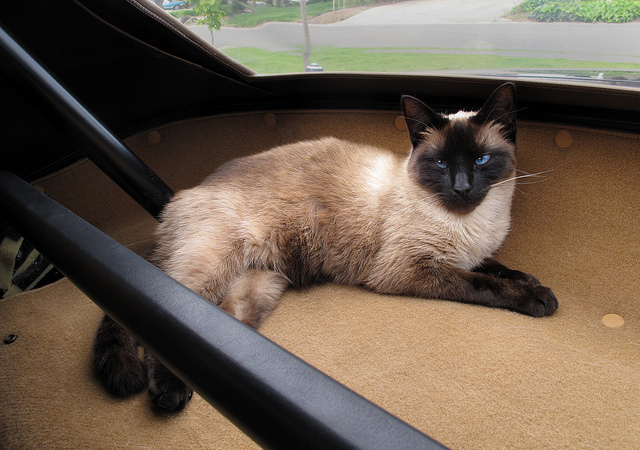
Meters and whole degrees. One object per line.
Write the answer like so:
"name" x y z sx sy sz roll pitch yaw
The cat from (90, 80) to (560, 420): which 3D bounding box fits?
"cat" 0.035 0.118 1.720 1.232 0.667 0.946 -3 33 5
